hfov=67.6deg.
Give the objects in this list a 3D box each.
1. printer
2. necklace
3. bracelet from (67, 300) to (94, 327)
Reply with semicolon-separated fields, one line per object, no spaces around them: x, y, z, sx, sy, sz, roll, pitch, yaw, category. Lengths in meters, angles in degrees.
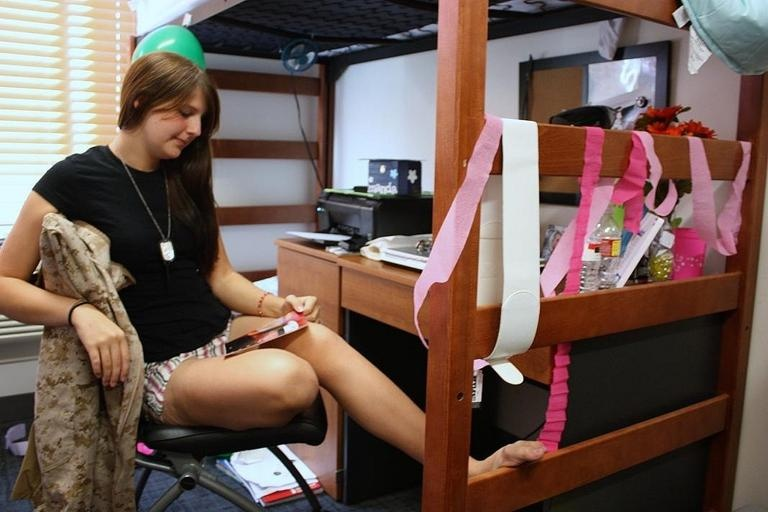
-0.063;-0.173;2.410;0.347;0.183;0.393;-3;7;-30;printer
-0.737;-0.156;1.871;0.017;0.348;0.120;-11;4;24;necklace
-0.888;0.160;1.661;0.021;0.064;0.065;7;15;37;bracelet
